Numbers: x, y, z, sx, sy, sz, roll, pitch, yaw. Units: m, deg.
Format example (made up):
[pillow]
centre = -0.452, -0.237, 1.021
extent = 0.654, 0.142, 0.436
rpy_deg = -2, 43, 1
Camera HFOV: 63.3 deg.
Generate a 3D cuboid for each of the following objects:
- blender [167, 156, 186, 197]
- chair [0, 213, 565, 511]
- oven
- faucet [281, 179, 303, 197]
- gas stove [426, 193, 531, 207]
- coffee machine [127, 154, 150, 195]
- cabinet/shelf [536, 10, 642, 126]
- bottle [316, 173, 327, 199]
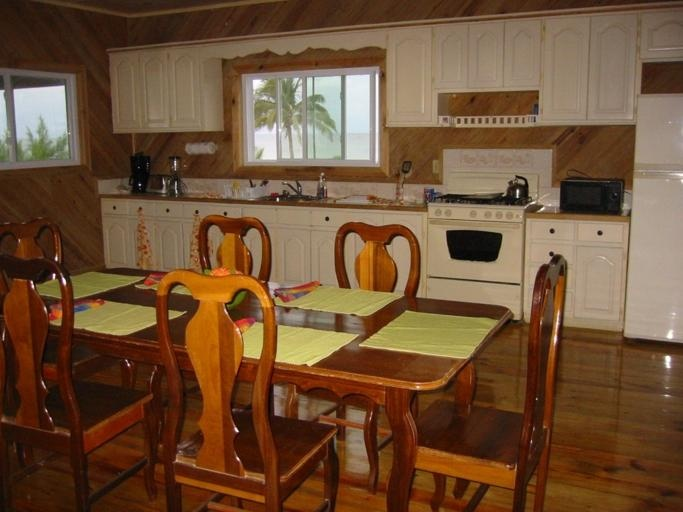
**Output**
[blender]
centre = -1.938, -0.942, 6.483
extent = 0.162, 0.449, 0.565
rpy_deg = -2, 9, -16
[chair]
centre = -0.181, 0.539, 2.748
extent = 1.554, 0.858, 0.648
rpy_deg = 4, 10, 26
[oven]
centre = 1.177, 0.014, 4.922
extent = 0.821, 0.537, 0.566
rpy_deg = 2, 5, 23
[faucet]
centre = -0.523, -0.746, 6.083
extent = 0.160, 0.158, 0.320
rpy_deg = -8, 12, -44
[gas stove]
centre = 1.287, -0.520, 5.088
extent = 0.825, 0.081, 0.472
rpy_deg = 4, 9, 20
[coffee machine]
centre = -2.404, -0.994, 6.594
extent = 0.225, 0.476, 0.377
rpy_deg = -4, 10, -23
[cabinet/shelf]
centre = 2.123, -1.623, 4.680
extent = 1.022, 1.149, 0.520
rpy_deg = 3, 9, 23
[bottle]
centre = -0.200, -0.753, 5.910
extent = 0.109, 0.277, 0.253
rpy_deg = 0, 9, -3
